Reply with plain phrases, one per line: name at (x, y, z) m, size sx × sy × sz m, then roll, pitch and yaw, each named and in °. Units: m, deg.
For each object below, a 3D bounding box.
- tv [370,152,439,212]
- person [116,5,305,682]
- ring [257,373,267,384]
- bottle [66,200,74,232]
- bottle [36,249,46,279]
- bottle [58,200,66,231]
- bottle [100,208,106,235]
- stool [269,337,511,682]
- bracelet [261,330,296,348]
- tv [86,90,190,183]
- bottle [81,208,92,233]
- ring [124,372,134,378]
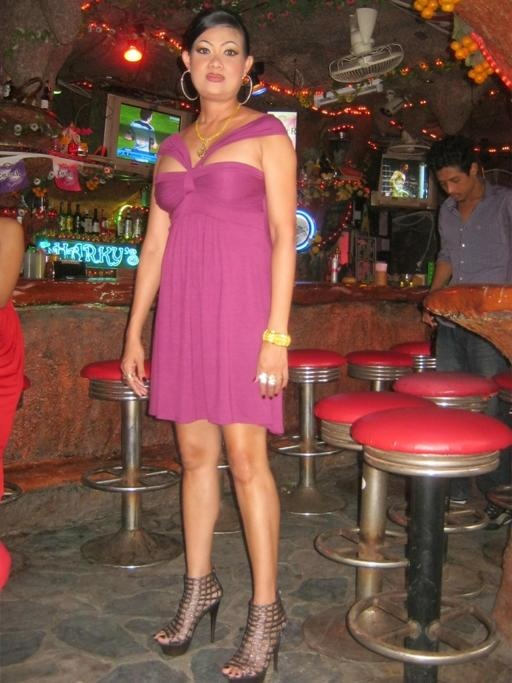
tv at (2.155, -2.143, 7.976) m, size 0.468 × 0.673 × 0.834 m, roll -26°, pitch 33°, yaw -35°
person at (-0.128, 0.021, 1.818) m, size 0.582 × 1.639 × 0.290 m, roll 2°, pitch 1°, yaw 44°
ring at (0.020, 0.100, 1.635) m, size 0.031 × 0.020 × 0.029 m, roll -2°, pitch 6°, yaw 0°
bottle at (-2.351, -1.555, 7.543) m, size 0.090 × 0.314 × 0.601 m, roll 2°, pitch 1°, yaw -18°
bottle at (-1.515, -0.542, 4.242) m, size 0.061 × 0.145 × 0.237 m, roll 2°, pitch 1°, yaw -19°
bottle at (-2.414, -1.557, 7.441) m, size 0.090 × 0.278 × 0.252 m, roll 2°, pitch 1°, yaw -18°
bottle at (-1.965, -1.522, 7.694) m, size 0.118 × 0.251 × 0.300 m, roll 2°, pitch 1°, yaw -13°
stool at (0.514, 0.629, 2.261) m, size 0.453 × 0.638 × 1.209 m, roll 0°, pitch 3°, yaw -7°
bracelet at (0.057, -0.007, 1.675) m, size 0.076 × 0.043 × 0.126 m, roll 1°, pitch 1°, yaw 0°
tv at (-1.457, -2.493, 7.284) m, size 1.056 × 0.757 × 0.549 m, roll -4°, pitch 19°, yaw -41°
bottle at (-2.156, -1.511, 7.619) m, size 0.156 × 0.237 × 0.376 m, roll 2°, pitch 1°, yaw -16°
ring at (-0.416, 0.108, 1.956) m, size 0.021 × 0.019 × 0.011 m, roll 5°, pitch 17°, yaw -6°
